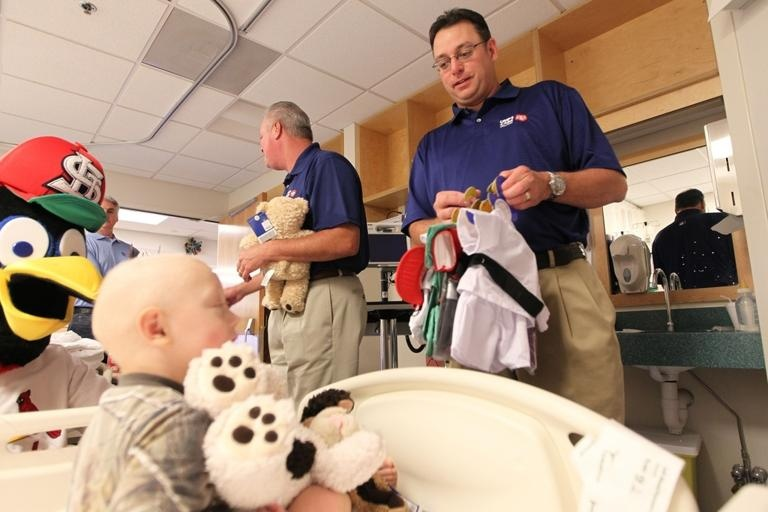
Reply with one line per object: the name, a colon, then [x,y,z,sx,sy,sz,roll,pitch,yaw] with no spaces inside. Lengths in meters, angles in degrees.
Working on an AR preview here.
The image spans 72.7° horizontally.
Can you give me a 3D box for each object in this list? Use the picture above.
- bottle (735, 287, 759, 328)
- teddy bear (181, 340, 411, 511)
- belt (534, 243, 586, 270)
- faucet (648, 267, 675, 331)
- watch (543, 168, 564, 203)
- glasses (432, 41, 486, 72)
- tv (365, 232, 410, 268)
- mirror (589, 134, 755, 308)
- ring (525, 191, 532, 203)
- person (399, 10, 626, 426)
bottle: [1.549,0.226,2.240,0.074,0.178,0.124,-9,-9,32]
teddy bear: [-0.173,0.338,0.969,0.357,0.251,0.143,20,-21,-16]
belt: [0.551,-0.001,1.623,0.165,0.078,0.042,-1,-8,-19]
faucet: [1.401,0.212,2.605,0.085,0.311,0.195,-6,-8,18]
watch: [0.502,-0.206,1.528,0.055,0.088,0.081,-2,-5,-21]
glasses: [0.251,-0.686,1.790,0.104,0.040,0.144,-26,10,43]
tv: [0.007,-0.036,3.172,0.252,0.236,0.060,-2,1,-18]
mirror: [1.375,-0.148,2.452,0.038,0.918,0.779,14,-21,-35]
ring: [0.407,-0.169,1.476,0.019,0.021,0.021,-7,6,1]
person: [0.422,-0.186,1.682,0.681,1.419,0.453,-4,-8,4]
